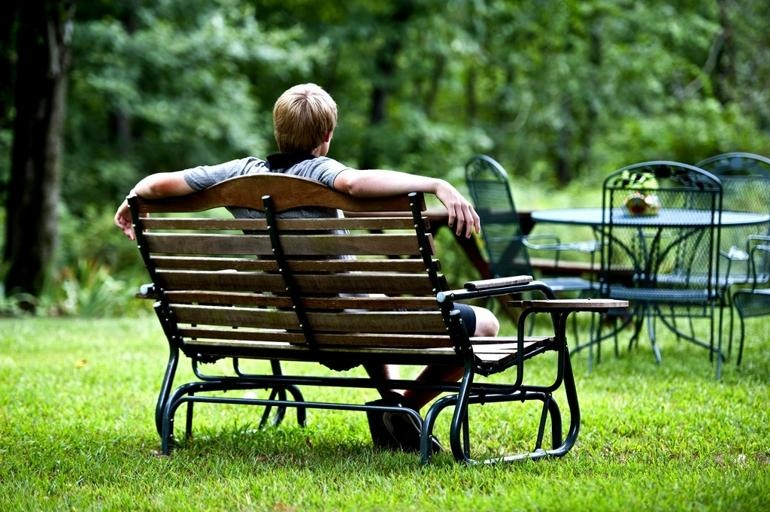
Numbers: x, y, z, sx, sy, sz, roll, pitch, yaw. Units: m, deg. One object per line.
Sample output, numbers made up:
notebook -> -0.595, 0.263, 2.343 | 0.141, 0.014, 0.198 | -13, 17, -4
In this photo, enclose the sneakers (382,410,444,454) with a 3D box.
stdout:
sneakers -> 0.134, 1.460, 11.176 | 0.282, 0.476, 0.092 | -3, 21, 19
